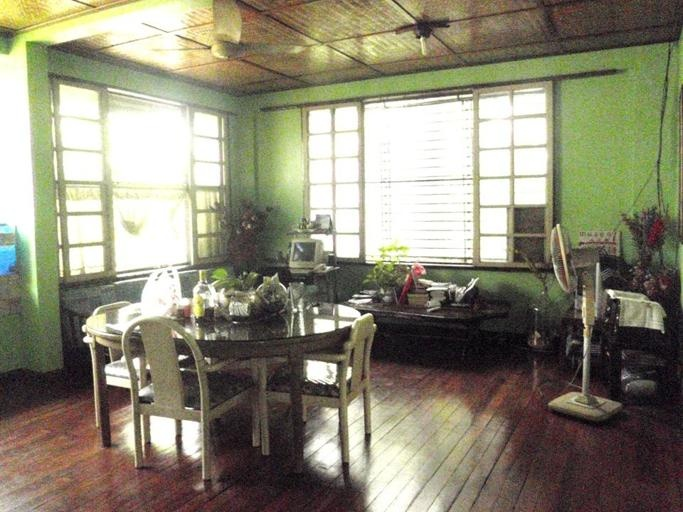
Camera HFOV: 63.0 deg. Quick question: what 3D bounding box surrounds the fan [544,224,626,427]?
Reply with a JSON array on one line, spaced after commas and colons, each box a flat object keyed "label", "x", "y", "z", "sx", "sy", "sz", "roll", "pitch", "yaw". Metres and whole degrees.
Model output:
[{"label": "fan", "x": 2.013, "y": 0.472, "z": 4.533, "sx": 0.587, "sy": 1.582, "sz": 0.858, "roll": 7, "pitch": 15, "yaw": 32}]

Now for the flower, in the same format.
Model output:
[{"label": "flower", "x": 3.077, "y": -0.064, "z": 5.586, "sx": 0.509, "sy": 0.826, "sz": 0.767, "roll": 4, "pitch": 14, "yaw": 22}]

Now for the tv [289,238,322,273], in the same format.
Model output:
[{"label": "tv", "x": -0.433, "y": -0.009, "z": 6.849, "sx": 0.356, "sy": 0.353, "sz": 0.199, "roll": -3, "pitch": -11, "yaw": 16}]

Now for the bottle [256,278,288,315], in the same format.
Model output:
[{"label": "bottle", "x": -0.602, "y": 0.286, "z": 4.258, "sx": 0.257, "sy": 0.316, "sz": 0.262, "roll": 1, "pitch": 0, "yaw": 28}]

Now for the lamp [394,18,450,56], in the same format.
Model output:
[{"label": "lamp", "x": 0.741, "y": -2.105, "z": 5.212, "sx": 0.347, "sy": 0.243, "sz": 0.355, "roll": -5, "pitch": 7, "yaw": -12}]
